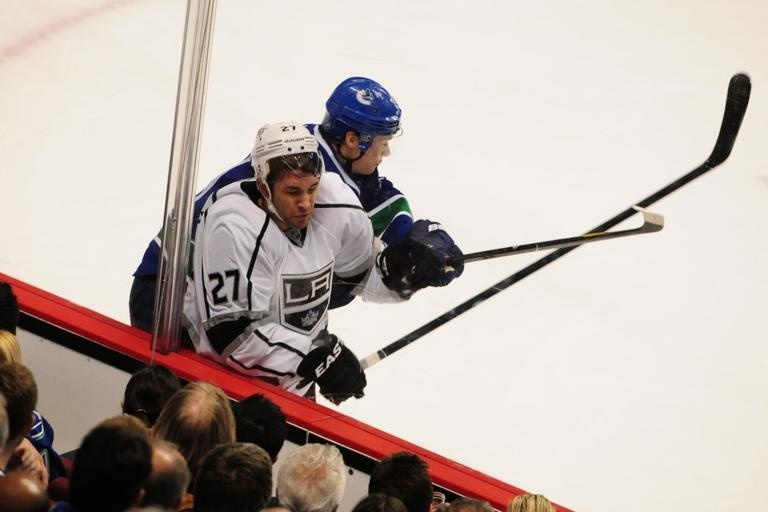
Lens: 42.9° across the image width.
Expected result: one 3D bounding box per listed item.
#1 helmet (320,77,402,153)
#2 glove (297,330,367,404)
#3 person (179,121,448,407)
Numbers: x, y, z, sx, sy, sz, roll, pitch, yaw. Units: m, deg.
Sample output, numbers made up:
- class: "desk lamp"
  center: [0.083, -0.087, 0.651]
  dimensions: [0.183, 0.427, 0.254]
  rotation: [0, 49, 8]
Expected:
- class: "helmet"
  center: [-0.107, -0.702, 4.860]
  dimensions: [0.371, 0.306, 0.309]
  rotation: [7, -49, -2]
- class: "glove"
  center: [-0.239, 0.529, 4.557]
  dimensions: [0.353, 0.257, 0.138]
  rotation: [54, -25, -16]
- class: "person"
  center: [-0.337, 0.338, 4.936]
  dimensions: [1.126, 1.103, 1.977]
  rotation: [-9, -47, -21]
